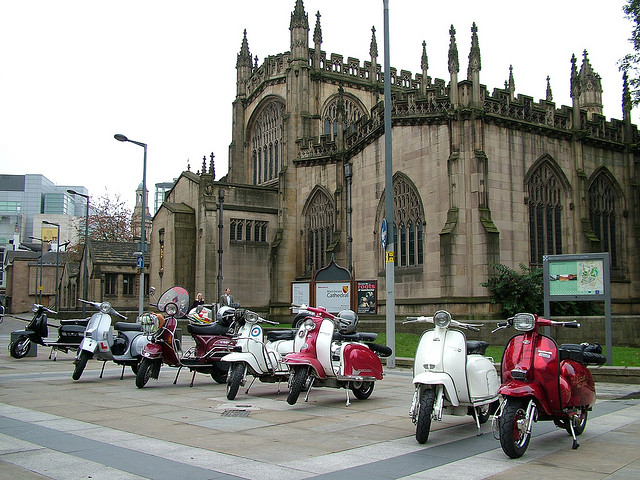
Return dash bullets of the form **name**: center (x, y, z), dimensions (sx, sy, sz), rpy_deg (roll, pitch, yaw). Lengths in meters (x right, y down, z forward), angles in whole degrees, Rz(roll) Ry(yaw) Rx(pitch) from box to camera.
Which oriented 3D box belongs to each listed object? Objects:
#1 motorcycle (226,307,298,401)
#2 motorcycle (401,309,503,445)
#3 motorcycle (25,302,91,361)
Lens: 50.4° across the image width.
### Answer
- **motorcycle**: center (-1.374, 2.515, 15.902), dimensions (1.350, 1.874, 3.219), rpy_deg (2, -4, 25)
- **motorcycle**: center (2.296, 2.309, 11.612), dimensions (1.775, 2.164, 0.820), rpy_deg (4, -9, -30)
- **motorcycle**: center (-8.242, 2.883, 21.236), dimensions (2.835, 1.585, 0.696), rpy_deg (9, -7, -43)
